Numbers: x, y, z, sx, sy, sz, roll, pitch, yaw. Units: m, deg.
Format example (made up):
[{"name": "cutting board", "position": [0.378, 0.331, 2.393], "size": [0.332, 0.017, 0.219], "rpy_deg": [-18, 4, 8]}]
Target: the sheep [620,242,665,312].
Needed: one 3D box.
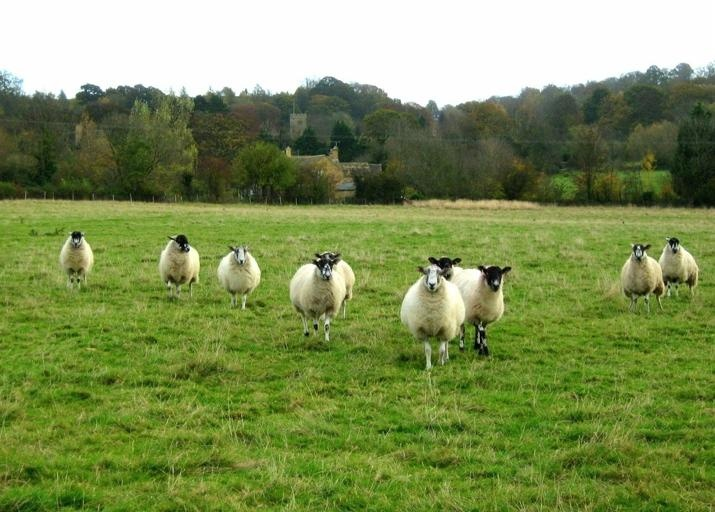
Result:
[{"name": "sheep", "position": [10.704, 0.673, 35.347], "size": [1.449, 2.362, 1.262], "rpy_deg": [-2, 12, -12]}]

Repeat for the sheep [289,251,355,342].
[{"name": "sheep", "position": [-1.315, 1.274, 33.634], "size": [1.333, 2.566, 3.488], "rpy_deg": [-1, -2, -5]}]

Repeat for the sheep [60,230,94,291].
[{"name": "sheep", "position": [-11.165, 0.097, 37.502], "size": [1.029, 2.493, 1.114], "rpy_deg": [-4, 14, -11]}]

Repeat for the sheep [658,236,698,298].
[{"name": "sheep", "position": [12.562, 0.311, 37.101], "size": [1.431, 2.313, 1.638], "rpy_deg": [4, 13, 19]}]

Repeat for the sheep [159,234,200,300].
[{"name": "sheep", "position": [-6.875, 0.295, 36.281], "size": [1.446, 2.381, 1.112], "rpy_deg": [-6, 13, -26]}]
